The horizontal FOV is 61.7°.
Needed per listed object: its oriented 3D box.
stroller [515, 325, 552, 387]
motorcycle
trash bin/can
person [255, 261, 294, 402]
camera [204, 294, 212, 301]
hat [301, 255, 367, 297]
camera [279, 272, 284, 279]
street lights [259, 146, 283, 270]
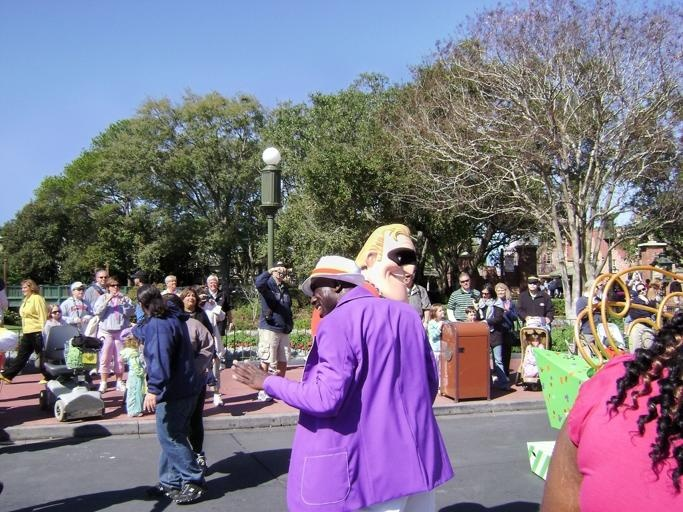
[{"bbox_3d":[3.008,1.559,9.000,0.367,1.453,0.513,0,-1,10],"label":"stroller"},{"bbox_3d":[-3.873,1.846,8.725,0.758,1.515,1.552,4,-10,-29],"label":"motorcycle"},{"bbox_3d":[2.002,1.684,9.622,0.718,1.317,0.813,3,2,-19],"label":"trash bin/can"},{"bbox_3d":[-1.221,1.011,9.127,0.674,2.721,0.638,1,2,-42],"label":"person"},{"bbox_3d":[-2.240,0.699,9.637,0.110,0.142,0.124,0,1,0],"label":"camera"},{"bbox_3d":[-0.047,0.100,3.665,0.339,0.291,0.320,2,2,-31],"label":"hat"},{"bbox_3d":[-0.929,0.298,8.931,0.051,0.088,0.076,-2,-13,-9],"label":"camera"},{"bbox_3d":[-1.303,-1.200,11.293,0.352,2.912,0.475,1,1,-38],"label":"street lights"}]
